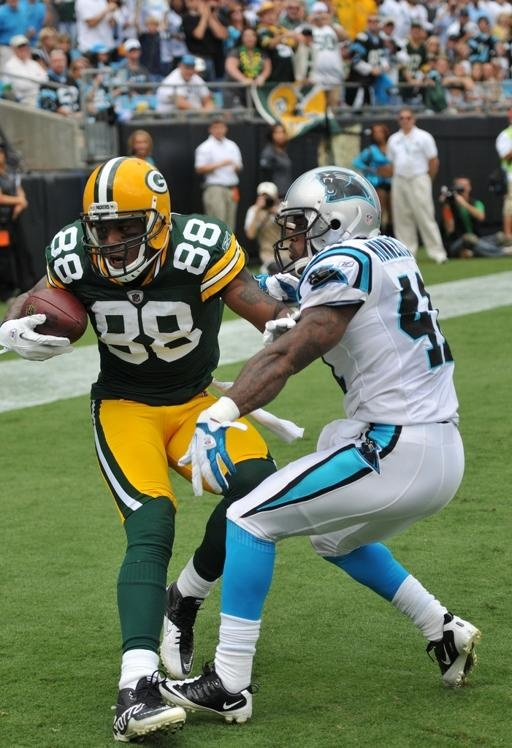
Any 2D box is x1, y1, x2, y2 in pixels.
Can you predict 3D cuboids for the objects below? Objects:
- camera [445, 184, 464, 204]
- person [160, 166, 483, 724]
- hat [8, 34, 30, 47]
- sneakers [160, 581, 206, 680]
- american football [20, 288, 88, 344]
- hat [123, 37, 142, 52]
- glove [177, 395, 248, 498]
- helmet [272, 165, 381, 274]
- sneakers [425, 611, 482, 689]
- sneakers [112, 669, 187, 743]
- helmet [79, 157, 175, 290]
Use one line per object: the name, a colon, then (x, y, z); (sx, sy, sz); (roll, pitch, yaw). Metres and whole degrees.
camera: (3.139, -2.857, 12.411); (0.292, 0.093, 0.255); (-3, 55, 25)
person: (0.134, 0.160, 2.042); (0.839, 1.420, 0.499); (-4, 10, -19)
hat: (-3.140, -4.386, 10.378); (0.214, 0.203, 0.247); (-5, 10, -28)
sneakers: (-0.226, 0.732, 2.274); (0.107, 0.272, 0.143); (9, -28, -34)
american football: (-0.612, -0.143, 2.302); (0.212, 0.139, 0.154); (5, -4, -9)
hat: (-1.814, -4.780, 11.466); (0.226, 0.255, 0.304); (-1, 8, -1)
glove: (-0.094, 0.159, 1.900); (0.193, 0.253, 0.115); (1, 47, -30)
helmet: (0.175, -0.414, 2.184); (0.351, 0.261, 0.278); (-2, 7, 14)
sneakers: (0.528, 0.727, 2.061); (0.128, 0.218, 0.082); (0, 23, 5)
sneakers: (-0.243, 0.763, 1.744); (0.144, 0.187, 0.163); (-3, 9, -14)
helmet: (-0.365, -0.436, 2.221); (0.256, 0.361, 0.246); (-2, 9, -7)
